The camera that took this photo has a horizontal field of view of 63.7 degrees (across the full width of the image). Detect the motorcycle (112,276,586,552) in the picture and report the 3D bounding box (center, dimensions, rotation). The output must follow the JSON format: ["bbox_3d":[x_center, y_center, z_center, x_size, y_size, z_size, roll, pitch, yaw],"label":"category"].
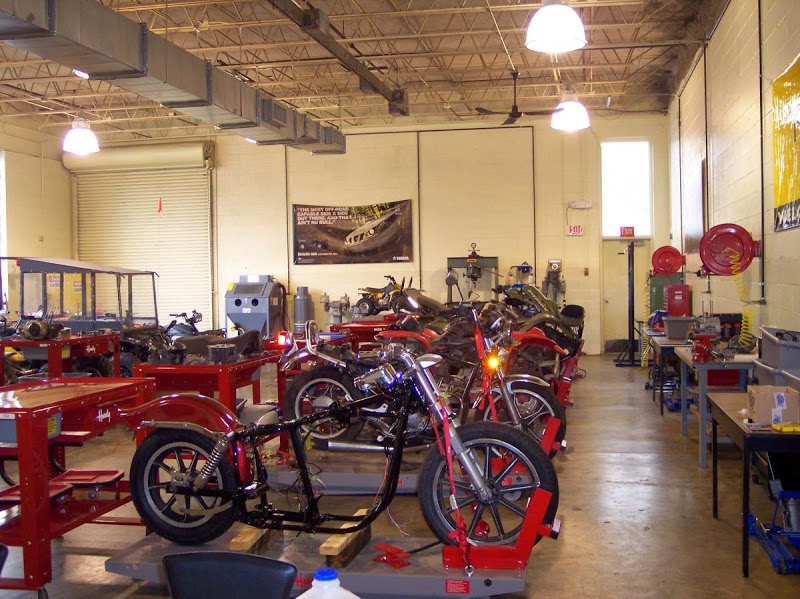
[{"bbox_3d":[-0.292,0.781,4.249,3.046,1.334,1.245,0,2,9],"label":"motorcycle"}]

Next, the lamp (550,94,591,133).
[{"bbox_3d":[2.140,-2.348,8.107,0.426,0.382,0.321,-3,3,9],"label":"lamp"}]

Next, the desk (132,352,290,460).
[{"bbox_3d":[-1.554,1.056,5.461,1.336,0.798,0.824,-2,-3,14],"label":"desk"}]
